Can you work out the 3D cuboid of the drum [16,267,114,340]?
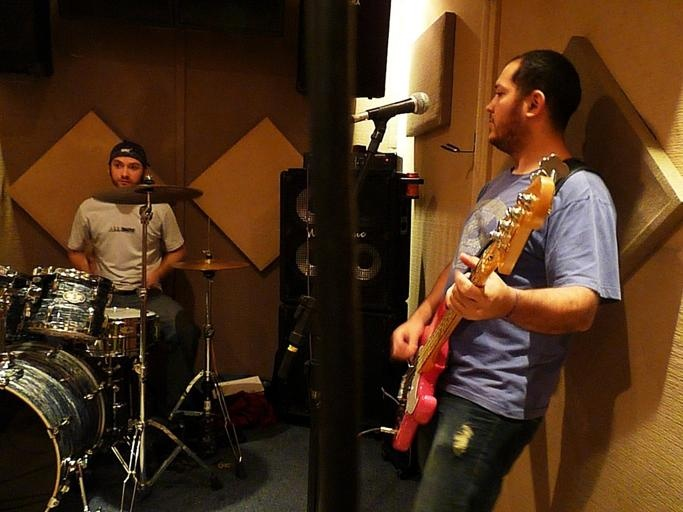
[{"bbox_3d":[-1.473,0.251,3.504,0.387,0.293,0.372,3,-21,1],"label":"drum"}]

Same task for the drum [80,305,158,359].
[{"bbox_3d":[-1.264,0.431,3.772,0.264,0.185,0.341,3,-2,10],"label":"drum"}]

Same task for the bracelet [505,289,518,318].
[{"bbox_3d":[0.599,0.165,2.263,0.017,0.077,0.072,17,-15,-2],"label":"bracelet"}]

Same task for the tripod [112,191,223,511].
[{"bbox_3d":[-1.090,0.455,3.797,0.652,1.723,1.035,-5,20,-13],"label":"tripod"}]
